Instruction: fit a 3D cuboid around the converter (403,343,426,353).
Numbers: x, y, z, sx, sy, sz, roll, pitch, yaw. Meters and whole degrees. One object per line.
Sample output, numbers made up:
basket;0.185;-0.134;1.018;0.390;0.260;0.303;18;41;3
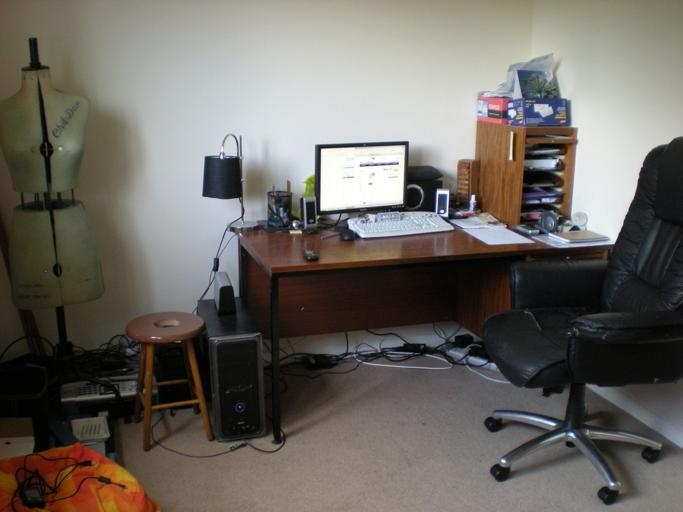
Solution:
converter;0.473;0.602;3.780;0.091;0.034;0.072;4;8;-4

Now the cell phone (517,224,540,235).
cell phone;1.054;-0.144;3.280;0.070;0.018;0.073;-3;17;-10

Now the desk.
desk;0.374;0.330;3.389;1.815;0.916;1.073;-2;13;-11

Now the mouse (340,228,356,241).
mouse;0.031;-0.118;3.197;0.085;0.042;0.119;1;18;2

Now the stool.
stool;-0.889;0.639;2.998;0.436;0.608;0.457;2;12;7

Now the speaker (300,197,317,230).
speaker;-0.186;-0.250;3.303;0.090;0.181;0.088;-1;17;-6

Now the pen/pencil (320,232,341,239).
pen/pencil;-0.064;-0.113;3.242;0.020;0.024;0.138;-19;-2;31

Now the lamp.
lamp;-0.638;-0.386;3.281;0.307;0.579;0.285;-7;18;-22

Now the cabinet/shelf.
cabinet/shelf;1.105;-0.514;3.648;0.537;0.750;0.411;-4;13;-17

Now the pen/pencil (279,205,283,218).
pen/pencil;-0.347;-0.251;3.317;0.023;0.053;0.009;-1;17;-5

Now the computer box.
computer box;-0.558;0.607;3.066;0.307;0.565;0.444;-4;18;-14

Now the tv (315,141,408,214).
tv;0.116;-0.456;3.378;0.563;0.402;0.027;-5;18;-18

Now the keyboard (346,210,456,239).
keyboard;0.325;-0.184;3.350;0.589;0.080;0.299;-4;18;-15
